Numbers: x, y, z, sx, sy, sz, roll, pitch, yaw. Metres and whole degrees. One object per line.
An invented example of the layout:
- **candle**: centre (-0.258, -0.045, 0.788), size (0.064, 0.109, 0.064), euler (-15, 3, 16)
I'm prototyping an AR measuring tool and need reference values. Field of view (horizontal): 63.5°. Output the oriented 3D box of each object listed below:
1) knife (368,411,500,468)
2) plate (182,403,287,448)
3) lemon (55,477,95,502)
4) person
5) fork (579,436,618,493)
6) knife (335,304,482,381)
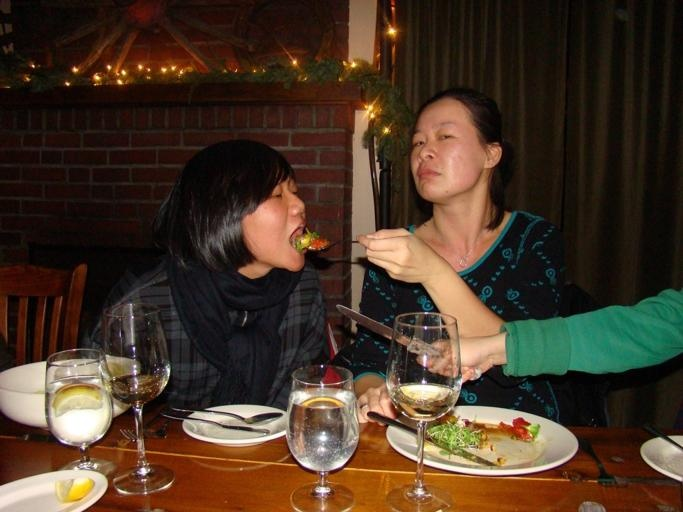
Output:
- **knife**: centre (0.222, 0.451, 1.337), size (0.367, 0.047, 0.030), euler (18, 48, 5)
- **plate**: centre (-0.277, 0.440, 1.427), size (0.144, 0.019, 0.140), euler (-1, 6, -27)
- **lemon**: centre (-0.573, 0.504, 1.185), size (0.073, 0.039, 0.039), euler (1, 3, -26)
- **person**: centre (0.292, -0.043, 2.110), size (1.703, 0.642, 0.591), euler (-5, -17, -7)
- **fork**: centre (0.593, 0.486, 1.269), size (0.043, 0.019, 0.076), euler (-1, 30, -7)
- **knife**: centre (0.191, 0.235, 1.491), size (0.528, 0.076, 0.059), euler (25, 41, 24)
